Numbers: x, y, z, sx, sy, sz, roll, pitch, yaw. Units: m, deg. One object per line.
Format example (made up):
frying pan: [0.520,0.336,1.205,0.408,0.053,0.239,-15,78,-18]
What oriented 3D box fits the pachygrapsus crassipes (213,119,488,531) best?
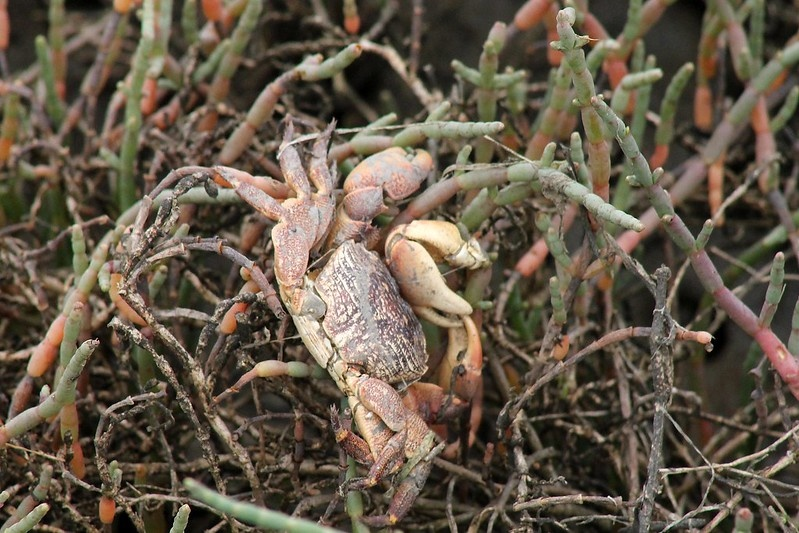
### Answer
pachygrapsus crassipes: [-0.074,0.121,1.582,0.420,0.484,0.604,-5,53,-12]
